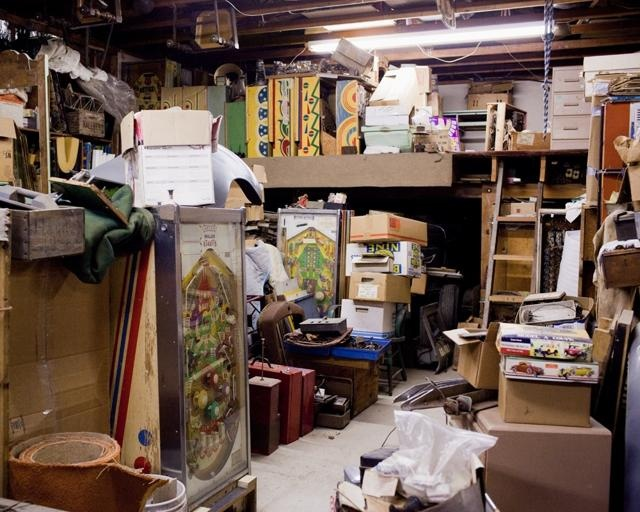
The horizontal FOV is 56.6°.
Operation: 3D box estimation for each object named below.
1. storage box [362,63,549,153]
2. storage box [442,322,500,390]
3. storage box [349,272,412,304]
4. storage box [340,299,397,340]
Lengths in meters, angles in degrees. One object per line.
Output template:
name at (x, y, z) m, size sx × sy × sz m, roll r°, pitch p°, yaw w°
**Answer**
storage box at (1.910, -2.055, 8.345) m, size 1.682 × 1.173 × 1.768 m, roll 3°, pitch 8°, yaw 21°
storage box at (1.036, 0.639, 3.931) m, size 0.327 × 0.518 × 0.485 m, roll 2°, pitch 3°, yaw 32°
storage box at (0.658, 0.363, 6.443) m, size 0.677 × 0.365 × 0.399 m, roll 1°, pitch 5°, yaw 1°
storage box at (0.523, 0.663, 6.372) m, size 0.411 × 0.281 × 0.432 m, roll 3°, pitch 3°, yaw 25°
